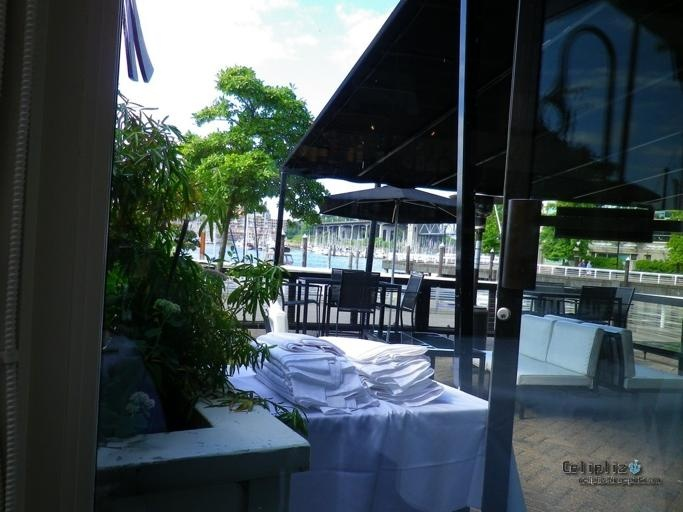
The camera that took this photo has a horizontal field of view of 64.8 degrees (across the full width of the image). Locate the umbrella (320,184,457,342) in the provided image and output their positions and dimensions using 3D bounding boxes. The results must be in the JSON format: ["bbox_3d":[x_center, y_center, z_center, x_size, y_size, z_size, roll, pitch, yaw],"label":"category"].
[{"bbox_3d":[0.142,-0.105,2.053,0.412,0.265,0.400,10,7,-45],"label":"umbrella"}]

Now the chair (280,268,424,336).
[{"bbox_3d":[0.068,0.172,1.929,0.568,0.241,0.118,2,0,-37],"label":"chair"}]

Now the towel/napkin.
[{"bbox_3d":[0.026,0.338,1.638,0.572,0.214,0.228,2,0,-23],"label":"towel/napkin"}]
